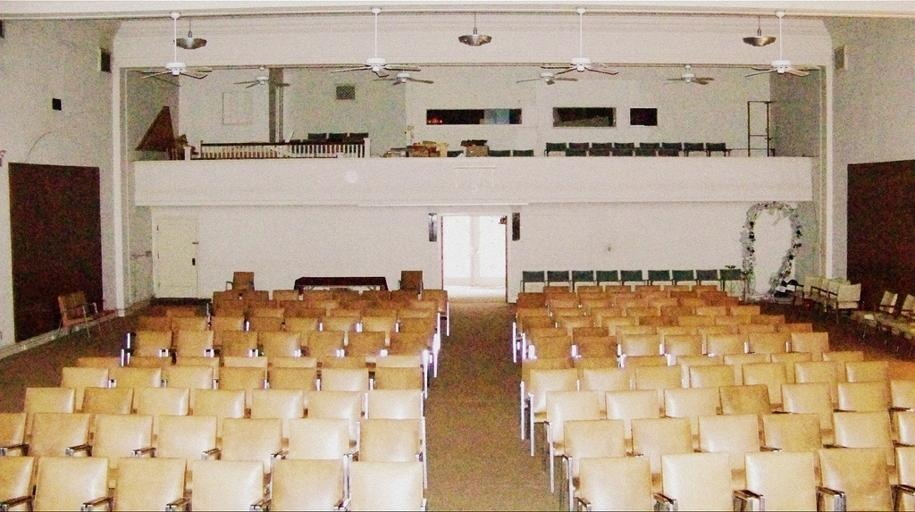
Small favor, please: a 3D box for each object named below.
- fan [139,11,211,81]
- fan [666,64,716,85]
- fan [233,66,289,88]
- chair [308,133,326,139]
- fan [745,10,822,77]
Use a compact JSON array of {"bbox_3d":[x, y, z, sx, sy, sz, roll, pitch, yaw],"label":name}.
[{"bbox_3d":[-7.897,-6.005,29.279,1.974,1.695,1.996,13,15,30],"label":"fan"},{"bbox_3d":[7.789,-5.795,33.834,1.218,0.194,1.180,-6,23,-2],"label":"fan"},{"bbox_3d":[-6.824,-6.072,35.254,1.835,0.690,1.502,3,2,-4],"label":"fan"},{"bbox_3d":[-4.940,-4.160,35.864,0.648,0.197,0.272,4,2,14],"label":"chair"},{"bbox_3d":[9.116,-6.077,29.565,2.080,1.791,1.915,6,16,30],"label":"fan"}]
